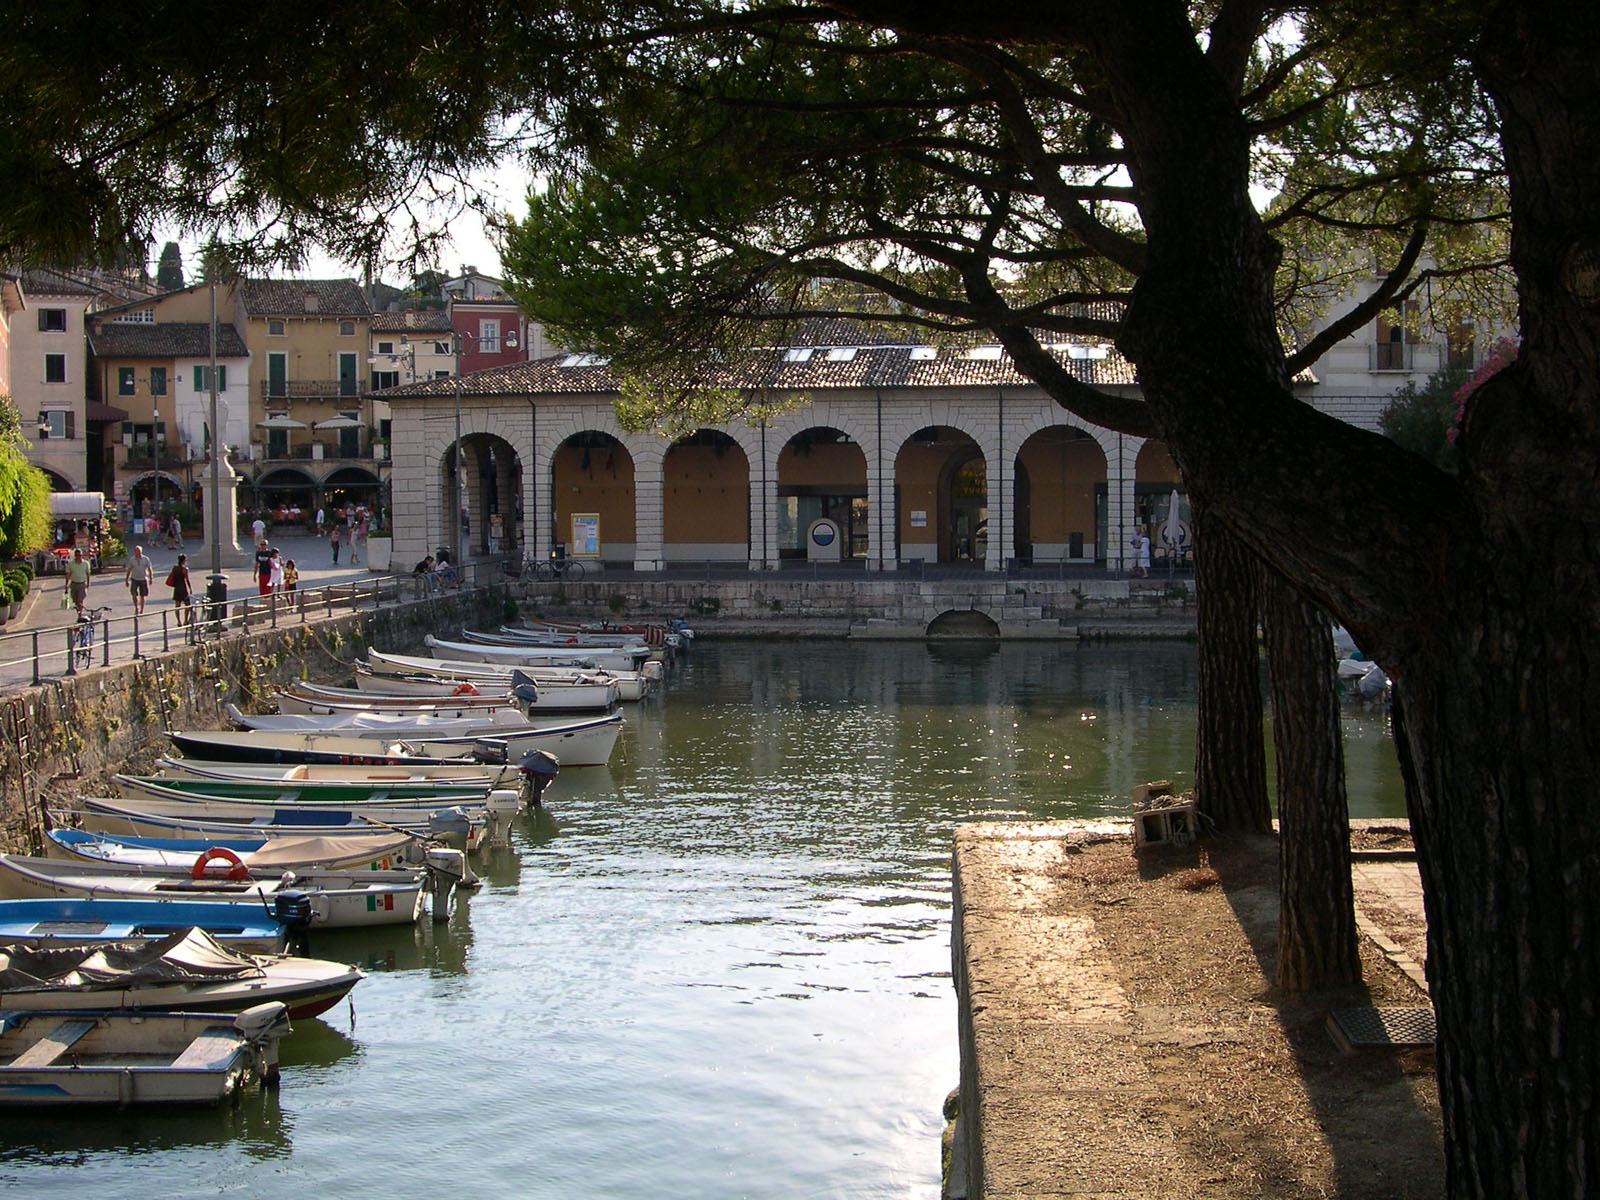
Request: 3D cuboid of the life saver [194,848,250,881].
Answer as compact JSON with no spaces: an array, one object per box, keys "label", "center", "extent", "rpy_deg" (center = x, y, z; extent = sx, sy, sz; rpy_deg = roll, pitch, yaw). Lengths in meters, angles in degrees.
[{"label":"life saver","center":[-4.882,2.217,17.678],"extent":[0.482,0.220,0.623],"rpy_deg":[0,8,-17]}]
